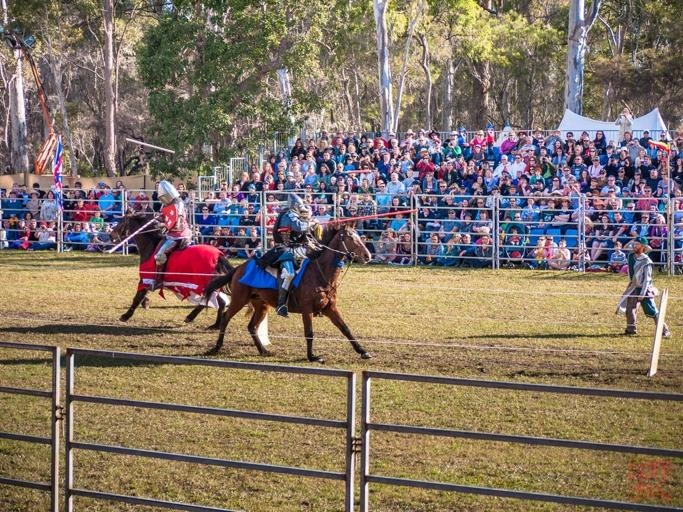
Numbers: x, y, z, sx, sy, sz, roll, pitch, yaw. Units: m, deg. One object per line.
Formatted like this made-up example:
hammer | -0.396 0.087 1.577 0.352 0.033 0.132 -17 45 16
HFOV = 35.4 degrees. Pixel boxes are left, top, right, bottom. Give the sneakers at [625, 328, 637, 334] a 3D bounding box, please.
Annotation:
sneakers | 6.121 1.594 22.675 0.166 0.137 0.145 -1 0 -9

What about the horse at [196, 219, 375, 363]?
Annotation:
horse | -0.896 0.673 21.460 2.998 2.539 1.204 1 15 2

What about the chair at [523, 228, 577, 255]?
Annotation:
chair | 5.641 -0.469 28.678 1.490 1.053 0.573 1 -13 12

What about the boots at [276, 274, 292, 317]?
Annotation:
boots | -1.120 0.826 21.422 0.313 0.843 0.177 -1 14 -3

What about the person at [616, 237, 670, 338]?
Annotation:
person | 6.270 0.658 22.631 0.780 1.948 0.847 5 15 19

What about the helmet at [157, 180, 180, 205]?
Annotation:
helmet | -3.814 -1.343 23.520 0.369 0.450 0.512 -38 13 -5

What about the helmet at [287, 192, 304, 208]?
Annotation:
helmet | -0.933 -1.081 21.588 0.299 0.275 0.235 16 15 27
